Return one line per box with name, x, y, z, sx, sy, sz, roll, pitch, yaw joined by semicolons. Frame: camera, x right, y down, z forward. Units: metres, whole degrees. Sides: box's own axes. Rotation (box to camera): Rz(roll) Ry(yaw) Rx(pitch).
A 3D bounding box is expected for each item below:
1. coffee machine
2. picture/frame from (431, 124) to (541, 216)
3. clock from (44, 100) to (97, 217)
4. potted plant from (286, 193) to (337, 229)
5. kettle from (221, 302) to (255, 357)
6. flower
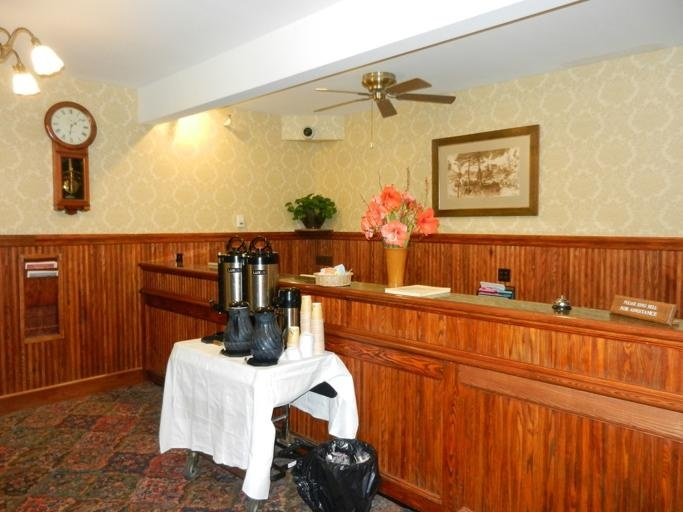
coffee machine;-0.683;0.261;3.570;0.681;0.913;0.759;1;0;9
picture/frame;1.588;-0.913;5.248;1.247;0.895;0.027;-8;11;-14
clock;-2.708;-0.992;4.758;0.441;1.129;0.183;-5;7;-33
potted plant;-0.391;-0.622;6.526;0.660;0.501;0.436;6;2;-42
kettle;-0.650;0.451;3.088;0.286;0.347;0.193;1;2;34
flower;0.382;-0.273;3.210;0.493;0.417;0.247;-1;5;2
